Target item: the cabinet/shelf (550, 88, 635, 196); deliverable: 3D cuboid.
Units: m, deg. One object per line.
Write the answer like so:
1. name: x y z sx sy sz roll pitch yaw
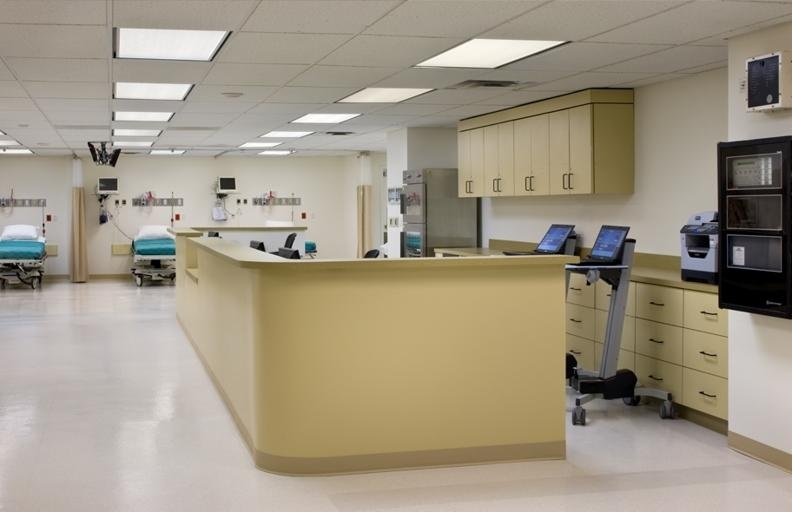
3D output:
1. cabinet/shelf: 2.374 -1.344 6.354 0.728 1.190 0.329 2 7 18

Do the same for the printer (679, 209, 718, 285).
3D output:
1. printer: 2.718 -0.082 4.957 0.350 0.624 0.233 6 9 43

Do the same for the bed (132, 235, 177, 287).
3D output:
1. bed: -5.824 0.117 13.426 1.169 1.000 1.973 0 1 -14

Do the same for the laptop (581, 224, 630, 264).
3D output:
1. laptop: 2.106 -0.122 5.429 0.413 0.317 0.461 -7 4 -16

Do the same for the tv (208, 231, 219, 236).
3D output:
1. tv: -3.378 -0.436 10.375 0.195 0.088 0.757 -2 6 -18

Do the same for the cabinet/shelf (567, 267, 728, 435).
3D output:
1. cabinet/shelf: 2.365 0.911 5.104 0.534 0.872 1.472 2 -1 -19

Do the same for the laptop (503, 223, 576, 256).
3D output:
1. laptop: 1.919 -0.207 6.931 0.575 0.323 0.581 2 -2 -11
